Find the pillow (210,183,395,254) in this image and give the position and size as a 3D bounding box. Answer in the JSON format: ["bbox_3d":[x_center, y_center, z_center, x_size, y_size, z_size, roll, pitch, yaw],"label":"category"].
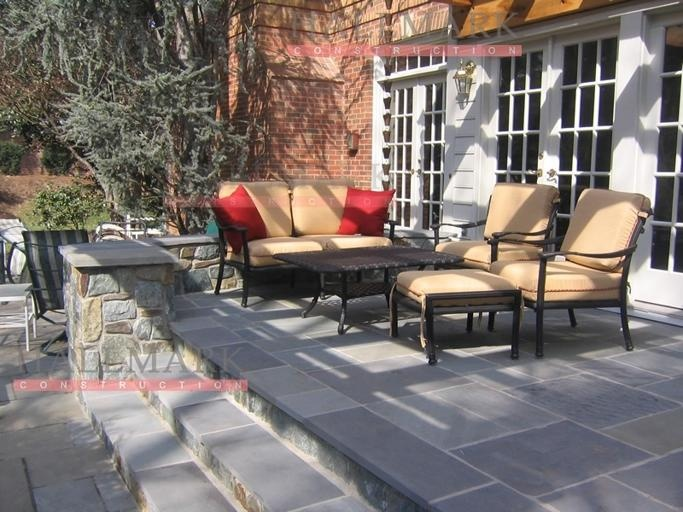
[{"bbox_3d":[-0.432,-0.556,5.718,2.209,0.862,0.874,-2,7,-22],"label":"pillow"}]

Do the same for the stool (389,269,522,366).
[{"bbox_3d":[0.804,0.320,3.438,0.689,0.481,0.819,0,5,-10],"label":"stool"}]

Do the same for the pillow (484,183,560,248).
[{"bbox_3d":[1.780,-0.442,4.729,0.178,0.658,0.713,5,7,-44],"label":"pillow"}]

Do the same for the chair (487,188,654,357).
[{"bbox_3d":[1.717,0.062,3.668,1.020,1.139,0.777,-2,9,-14],"label":"chair"}]

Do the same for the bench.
[{"bbox_3d":[-0.444,-0.119,5.120,1.447,0.762,0.632,-4,8,-29],"label":"bench"}]

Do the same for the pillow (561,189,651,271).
[{"bbox_3d":[2.001,-0.239,3.688,0.231,0.685,0.702,19,13,-14],"label":"pillow"}]

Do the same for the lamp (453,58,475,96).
[{"bbox_3d":[1.559,-2.305,6.189,0.260,0.413,0.215,-8,8,-15],"label":"lamp"}]
